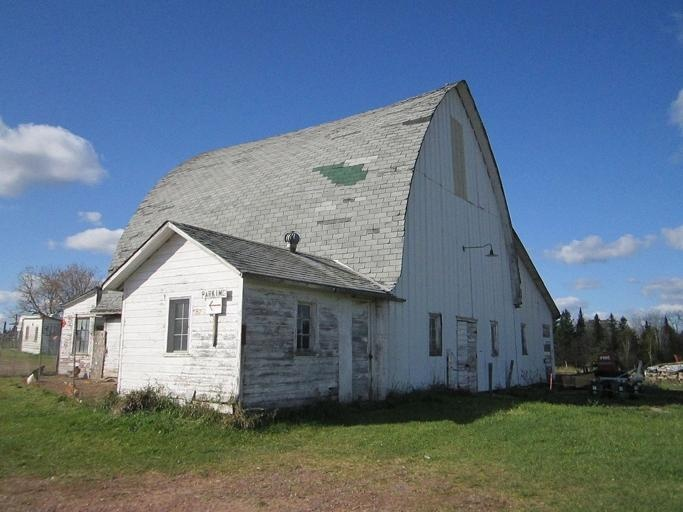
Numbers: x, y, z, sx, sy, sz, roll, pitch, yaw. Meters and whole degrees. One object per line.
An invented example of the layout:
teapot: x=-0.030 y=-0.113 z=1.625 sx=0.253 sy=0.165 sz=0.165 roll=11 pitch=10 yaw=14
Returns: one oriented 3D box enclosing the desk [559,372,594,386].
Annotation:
desk: x=9.455 y=5.005 z=21.908 sx=0.632 sy=0.619 sz=1.922 roll=-2 pitch=-3 yaw=43
